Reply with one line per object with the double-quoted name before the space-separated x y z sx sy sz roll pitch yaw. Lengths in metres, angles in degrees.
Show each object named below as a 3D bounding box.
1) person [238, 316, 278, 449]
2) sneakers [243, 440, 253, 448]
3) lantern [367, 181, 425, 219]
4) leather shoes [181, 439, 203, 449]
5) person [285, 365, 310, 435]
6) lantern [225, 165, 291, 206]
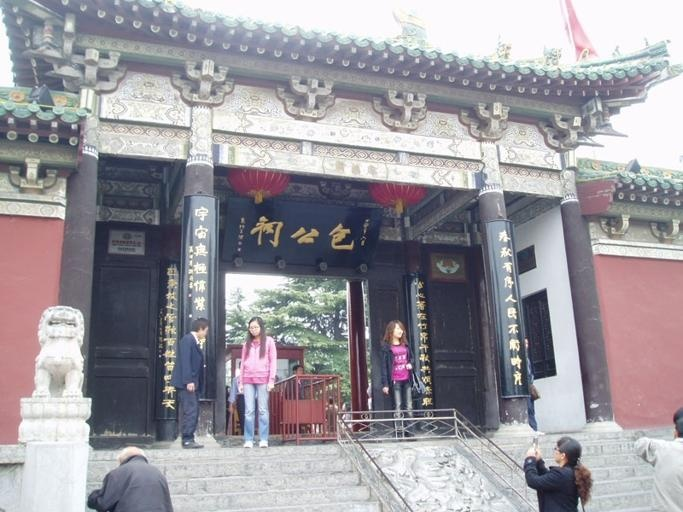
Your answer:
"person" -1.071 1.599 7.533 0.440 1.625 0.450 0 -14 -10
"sneakers" -1.164 2.343 7.270 0.076 0.086 0.203 3 -31 -4
"lantern" 0.957 -1.020 10.384 0.646 0.703 0.648 8 -26 -21
"leather shoes" -1.794 2.270 7.069 0.244 0.093 0.257 2 -14 -15
"person" -0.618 2.145 8.916 0.355 1.052 0.327 -10 7 -24
"lantern" -1.401 -1.242 9.787 0.809 0.707 0.830 -5 -2 25
